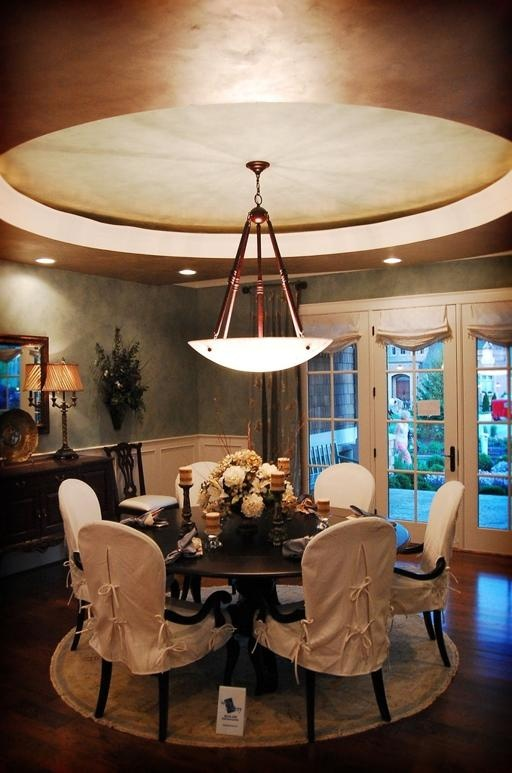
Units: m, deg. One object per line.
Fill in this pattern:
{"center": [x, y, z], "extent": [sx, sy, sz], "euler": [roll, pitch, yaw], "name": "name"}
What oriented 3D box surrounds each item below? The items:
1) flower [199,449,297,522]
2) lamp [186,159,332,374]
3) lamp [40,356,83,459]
{"center": [-0.064, 0.528, 3.062], "extent": [0.480, 0.349, 0.496], "euler": [0, -3, 29], "name": "flower"}
{"center": [0.009, -0.599, 2.894], "extent": [0.676, 1.034, 0.693], "euler": [-3, -4, 38], "name": "lamp"}
{"center": [-1.528, 0.176, 4.773], "extent": [0.284, 0.763, 0.289], "euler": [-2, -1, 0], "name": "lamp"}
